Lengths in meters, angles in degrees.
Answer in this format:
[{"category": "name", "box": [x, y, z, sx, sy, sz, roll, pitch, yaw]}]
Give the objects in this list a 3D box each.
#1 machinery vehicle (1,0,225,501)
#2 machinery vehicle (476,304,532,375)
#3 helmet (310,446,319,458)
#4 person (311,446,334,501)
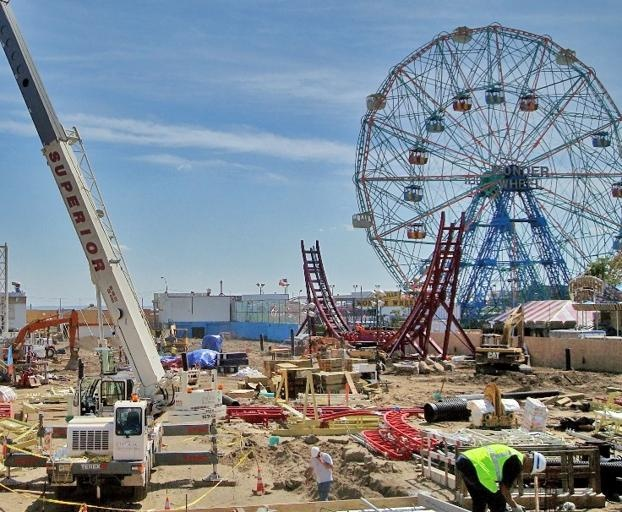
[{"category": "machinery vehicle", "box": [-5.533, -1.097, 19.503, 5.560, 13.325, 8.188, -2, -7, -9]}, {"category": "machinery vehicle", "box": [9.188, 4.525, 37.836, 2.075, 3.243, 5.152, -1, -2, 25]}, {"category": "helmet", "box": [0.086, 3.888, 14.976, 0.186, 0.139, 0.254, -7, 36, 7]}, {"category": "person", "box": [0.222, 4.344, 14.937, 0.394, 1.074, 0.547, -3, -7, -1]}]
